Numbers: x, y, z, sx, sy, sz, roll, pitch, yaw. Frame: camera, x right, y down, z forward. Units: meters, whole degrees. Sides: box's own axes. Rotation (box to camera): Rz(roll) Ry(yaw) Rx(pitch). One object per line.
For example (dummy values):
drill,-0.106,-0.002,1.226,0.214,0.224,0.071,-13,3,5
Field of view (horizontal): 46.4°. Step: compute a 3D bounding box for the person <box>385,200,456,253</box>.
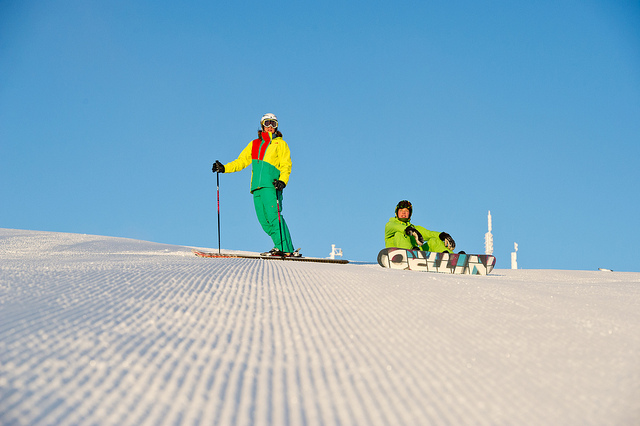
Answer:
person,1.581,0.419,12.368,0.810,0.943,0.618,-11,-11,32
